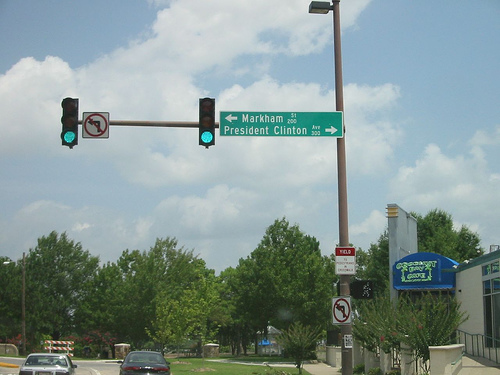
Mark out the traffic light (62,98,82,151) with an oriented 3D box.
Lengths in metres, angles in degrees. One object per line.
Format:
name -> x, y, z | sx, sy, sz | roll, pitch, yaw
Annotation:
traffic light -> -11.041, -3.947, 50.337 | 0.973, 3.027, 0.627 | -1, -9, 0

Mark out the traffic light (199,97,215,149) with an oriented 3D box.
traffic light -> -2.660, -3.931, 50.359 | 0.964, 3.044, 0.561 | 0, -9, -1
